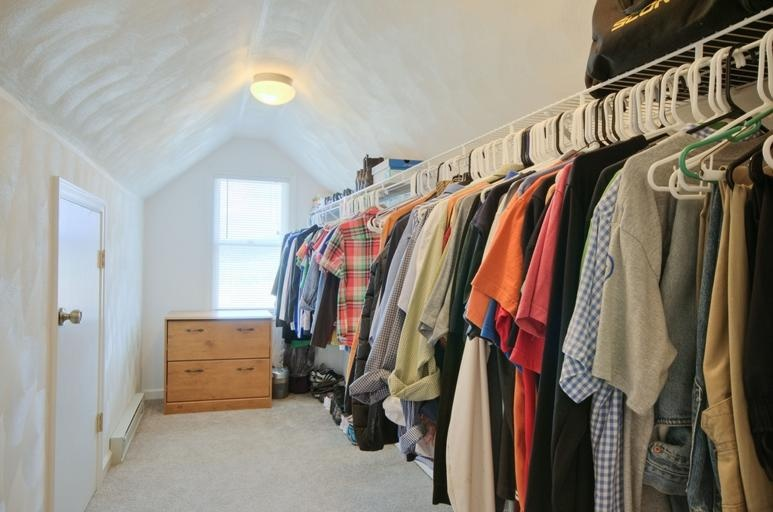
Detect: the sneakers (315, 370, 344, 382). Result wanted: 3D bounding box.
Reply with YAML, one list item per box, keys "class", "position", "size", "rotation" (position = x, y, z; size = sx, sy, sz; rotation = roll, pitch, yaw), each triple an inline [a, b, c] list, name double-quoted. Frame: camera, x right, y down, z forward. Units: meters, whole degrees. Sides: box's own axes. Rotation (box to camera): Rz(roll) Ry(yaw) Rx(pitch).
- class: "sneakers"
  position: [-0.493, 1.054, 5.286]
  size: [0.285, 0.090, 0.189]
  rotation: [-1, 5, -20]

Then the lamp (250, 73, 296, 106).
- class: "lamp"
  position: [-0.788, -1.180, 4.218]
  size: [0.303, 0.184, 0.283]
  rotation: [0, 5, -14]

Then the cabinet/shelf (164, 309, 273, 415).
- class: "cabinet/shelf"
  position: [-1.347, 0.799, 4.916]
  size: [0.803, 0.761, 0.608]
  rotation: [0, 8, -14]
